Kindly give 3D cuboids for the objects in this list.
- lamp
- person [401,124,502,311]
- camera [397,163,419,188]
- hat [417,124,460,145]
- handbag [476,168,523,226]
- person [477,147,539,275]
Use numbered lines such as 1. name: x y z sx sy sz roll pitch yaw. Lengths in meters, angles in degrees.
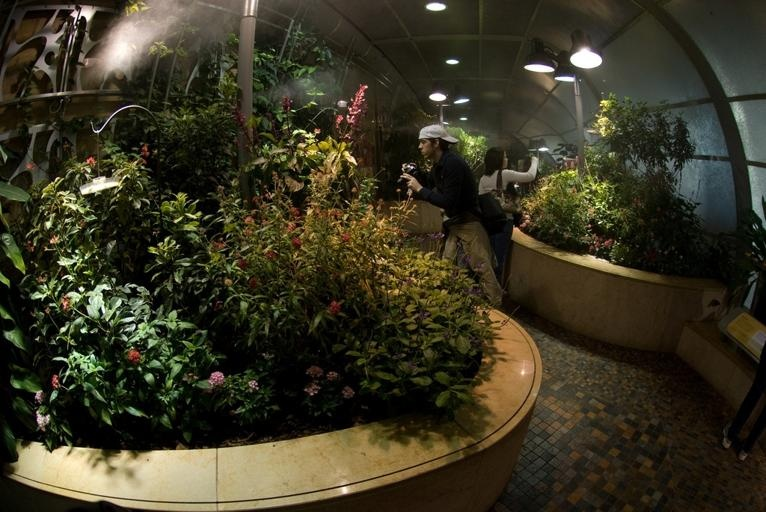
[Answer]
1. lamp: 1.787 -1.943 4.955 0.723 0.465 0.209 8 15 23
2. person: 0.710 -0.321 4.973 0.805 1.816 0.544 4 24 22
3. camera: 0.242 -0.748 4.720 0.149 0.199 0.081 9 22 -5
4. hat: 0.509 -1.080 4.598 0.271 0.103 0.179 -1 17 -30
5. handbag: 1.214 -0.633 5.289 0.401 0.740 0.511 -12 -5 42
6. person: 1.357 -0.502 5.459 0.434 1.399 0.693 -25 39 -24
